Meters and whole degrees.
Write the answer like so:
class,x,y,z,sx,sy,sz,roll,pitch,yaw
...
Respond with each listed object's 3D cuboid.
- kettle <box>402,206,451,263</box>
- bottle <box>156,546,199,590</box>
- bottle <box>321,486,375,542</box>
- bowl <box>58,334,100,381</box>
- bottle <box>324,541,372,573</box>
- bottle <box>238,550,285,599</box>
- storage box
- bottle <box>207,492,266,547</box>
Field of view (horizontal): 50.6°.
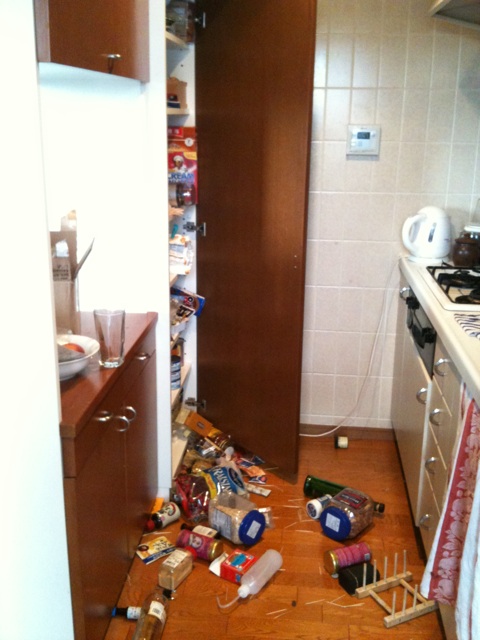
class,x,y,z,sx,sy,sz,roll,pitch,yaw
kettle,0.743,-0.373,2.136,0.229,0.241,0.173,-11,22,-20
bottle,-0.191,0.729,1.501,0.080,0.083,0.142,-7,8,20
bottle,0.373,0.679,1.755,0.090,0.088,0.154,15,17,21
bowl,-0.369,0.084,1.140,0.092,0.037,0.098,0,15,0
bottle,0.326,0.691,1.538,0.120,0.060,0.068,-10,25,-29
bottle,0.066,0.732,1.499,0.053,0.060,0.181,10,13,27
storage box,-0.456,-0.138,1.378,0.061,0.211,0.117,4,10,20
bottle,-0.007,0.666,1.714,0.175,0.108,0.131,9,14,41
